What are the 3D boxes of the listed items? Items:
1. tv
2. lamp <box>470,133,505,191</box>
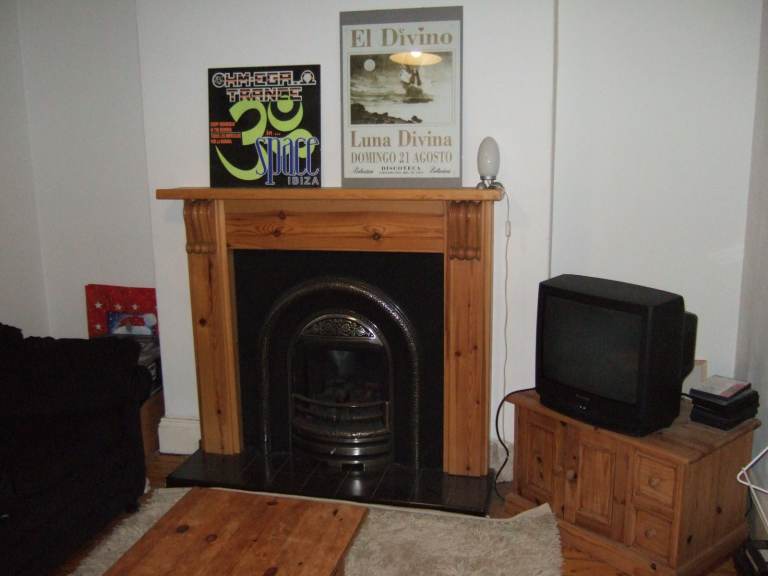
[{"bbox_3d":[1.092,0.271,3.010,0.504,0.645,0.604,-16,20,-38],"label":"tv"},{"bbox_3d":[0.510,-0.604,3.055,0.124,0.249,0.297,0,12,10],"label":"lamp"}]
